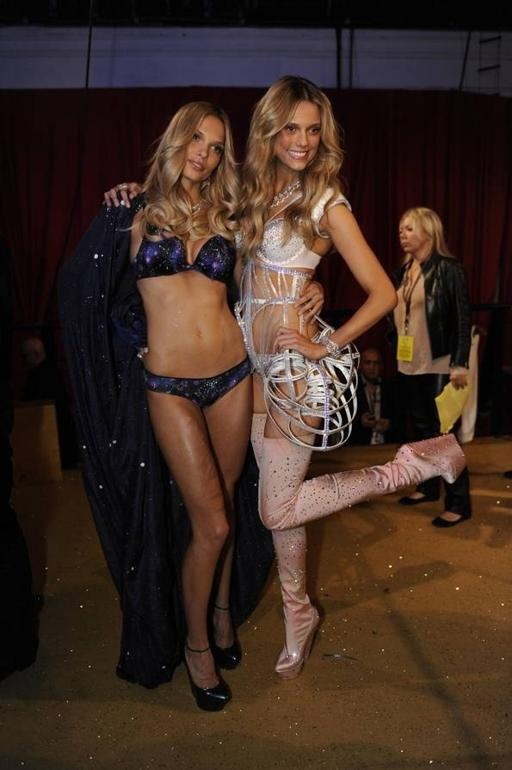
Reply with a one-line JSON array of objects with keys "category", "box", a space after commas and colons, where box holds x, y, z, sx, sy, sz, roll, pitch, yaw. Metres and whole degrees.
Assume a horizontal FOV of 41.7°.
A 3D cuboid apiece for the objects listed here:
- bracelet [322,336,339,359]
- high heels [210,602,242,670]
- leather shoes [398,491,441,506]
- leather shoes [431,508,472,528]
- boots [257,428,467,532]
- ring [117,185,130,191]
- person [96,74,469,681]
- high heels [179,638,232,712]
[{"category": "bracelet", "box": [0.202, -0.106, 1.891, 0.047, 0.060, 0.029, -19, 3, -36]}, {"category": "high heels", "box": [-0.100, 0.783, 2.136, 0.078, 0.059, 0.210, 2, 38, -26]}, {"category": "leather shoes", "box": [0.877, 0.608, 3.625, 0.217, 0.053, 0.073, 3, 1, -20]}, {"category": "leather shoes", "box": [0.959, 0.647, 3.284, 0.227, 0.084, 0.080, -4, 5, -35]}, {"category": "boots", "box": [0.272, 0.277, 2.228, 0.849, 0.417, 0.249, -1, 0, -26]}, {"category": "ring", "box": [-0.394, -0.593, 2.012, 0.026, 0.012, 0.034, 15, 34, 5]}, {"category": "person", "box": [0.244, -0.006, 2.012, 0.579, 1.724, 0.457, -3, 8, -7]}, {"category": "high heels", "box": [-0.138, 0.827, 1.915, 0.131, 0.152, 0.125, -2, 8, -2]}]
